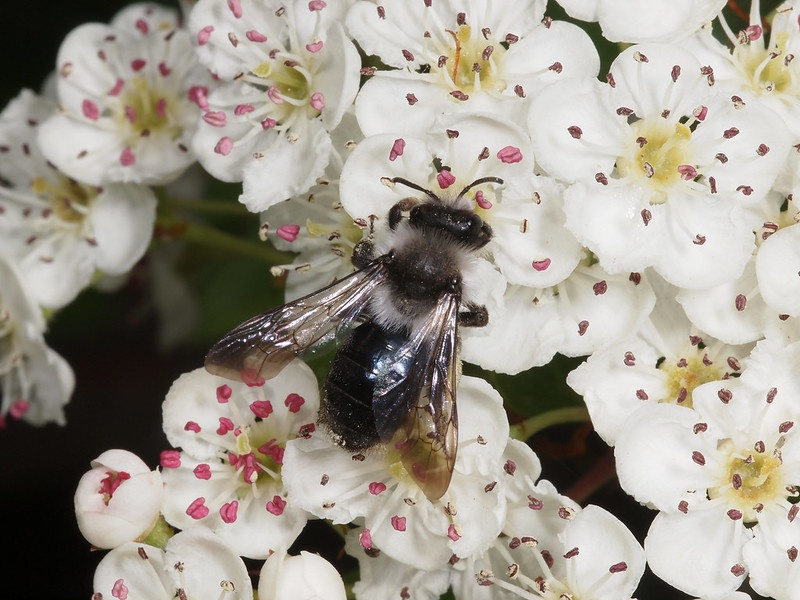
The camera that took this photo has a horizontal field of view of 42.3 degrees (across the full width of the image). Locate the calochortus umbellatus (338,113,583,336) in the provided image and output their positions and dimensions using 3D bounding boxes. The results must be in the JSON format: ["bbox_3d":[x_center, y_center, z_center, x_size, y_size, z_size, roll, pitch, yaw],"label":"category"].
[{"bbox_3d":[0.138,-0.234,2.369,0.408,0.554,0.479,-4,19,-8],"label":"calochortus umbellatus"}]

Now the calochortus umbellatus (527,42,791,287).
[{"bbox_3d":[0.591,-0.306,2.354,0.482,0.225,0.612,-28,91,3],"label":"calochortus umbellatus"}]
